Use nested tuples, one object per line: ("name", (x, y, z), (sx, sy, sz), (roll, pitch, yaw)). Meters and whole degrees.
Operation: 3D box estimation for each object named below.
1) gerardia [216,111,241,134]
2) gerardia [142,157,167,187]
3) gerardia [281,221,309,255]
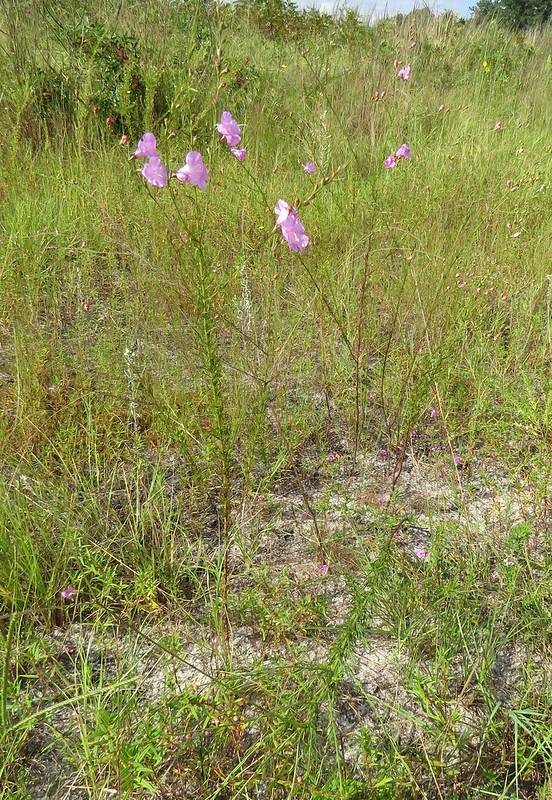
("gerardia", (-0.104, -0.598, 1.642), (0.052, 0.064, 0.020), (-16, 16, -38))
("gerardia", (-0.238, -0.440, 1.470), (0.045, 0.057, 0.023), (12, 16, -4))
("gerardia", (0.043, -0.359, 1.647), (0.056, 0.065, 0.033), (20, 19, -19))
